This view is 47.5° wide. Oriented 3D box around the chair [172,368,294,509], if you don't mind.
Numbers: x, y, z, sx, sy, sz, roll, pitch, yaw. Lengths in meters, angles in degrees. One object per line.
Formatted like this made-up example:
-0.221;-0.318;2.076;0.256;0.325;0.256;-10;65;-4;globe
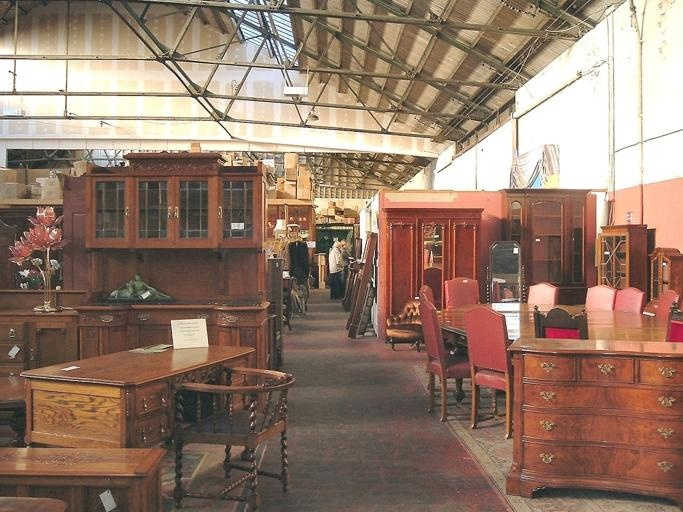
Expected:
-1.031;1.818;8.672;1.300;1.677;1.682;1;-1;17;chair

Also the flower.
-3.991;0.014;10.268;0.698;1.376;1.105;0;0;-23;flower
